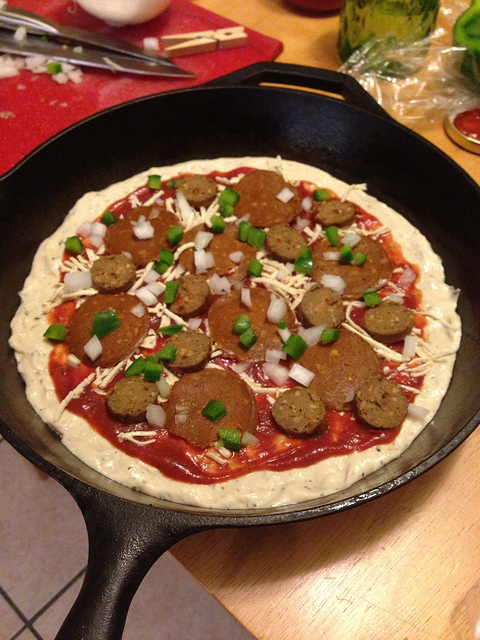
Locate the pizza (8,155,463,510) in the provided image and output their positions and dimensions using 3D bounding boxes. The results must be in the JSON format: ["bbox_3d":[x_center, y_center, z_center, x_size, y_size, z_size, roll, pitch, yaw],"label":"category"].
[{"bbox_3d":[-0.017,0.052,1.996,1.458,0.150,1.132,-27,62,-20],"label":"pizza"}]

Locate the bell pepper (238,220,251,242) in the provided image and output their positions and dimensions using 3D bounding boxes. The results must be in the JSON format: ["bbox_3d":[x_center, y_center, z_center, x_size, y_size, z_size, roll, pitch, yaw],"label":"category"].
[{"bbox_3d":[0.017,-0.317,2.094,0.044,0.025,0.059,8,79,0],"label":"bell pepper"}]

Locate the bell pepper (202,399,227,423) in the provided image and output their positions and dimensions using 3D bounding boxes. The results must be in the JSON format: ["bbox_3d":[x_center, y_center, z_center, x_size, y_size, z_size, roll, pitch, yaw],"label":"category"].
[{"bbox_3d":[-0.073,0.261,1.724,0.056,0.029,0.058,25,56,17],"label":"bell pepper"}]

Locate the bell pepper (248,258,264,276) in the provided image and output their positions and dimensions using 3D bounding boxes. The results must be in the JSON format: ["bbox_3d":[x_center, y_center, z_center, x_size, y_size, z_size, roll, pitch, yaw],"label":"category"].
[{"bbox_3d":[0.054,-0.180,2.015,0.060,0.054,0.052,23,85,8],"label":"bell pepper"}]

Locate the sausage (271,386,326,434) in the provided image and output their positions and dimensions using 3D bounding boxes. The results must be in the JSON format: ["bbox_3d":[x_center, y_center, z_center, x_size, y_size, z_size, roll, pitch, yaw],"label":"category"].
[{"bbox_3d":[0.176,0.270,1.753,0.152,0.091,0.206,-8,17,-21],"label":"sausage"}]

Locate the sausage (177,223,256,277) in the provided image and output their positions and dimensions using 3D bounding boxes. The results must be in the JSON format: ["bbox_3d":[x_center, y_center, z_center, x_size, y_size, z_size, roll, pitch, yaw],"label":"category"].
[{"bbox_3d":[-0.078,-0.258,2.053,0.246,0.018,0.167,-21,71,-15],"label":"sausage"}]

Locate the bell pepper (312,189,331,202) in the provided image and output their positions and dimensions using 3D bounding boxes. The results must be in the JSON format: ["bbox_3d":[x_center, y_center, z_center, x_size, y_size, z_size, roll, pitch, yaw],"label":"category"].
[{"bbox_3d":[0.311,-0.476,2.256,0.042,0.023,0.055,32,44,22],"label":"bell pepper"}]

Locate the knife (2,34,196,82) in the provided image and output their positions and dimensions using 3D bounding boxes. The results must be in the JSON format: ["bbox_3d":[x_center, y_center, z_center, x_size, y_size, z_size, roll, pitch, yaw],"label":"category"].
[{"bbox_3d":[-0.623,-1.109,2.517,0.982,0.085,0.146,7,53,-2],"label":"knife"}]

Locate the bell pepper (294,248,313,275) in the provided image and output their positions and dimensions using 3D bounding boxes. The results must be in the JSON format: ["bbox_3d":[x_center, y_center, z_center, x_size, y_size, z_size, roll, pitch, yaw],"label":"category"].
[{"bbox_3d":[0.224,-0.201,2.040,0.059,0.032,0.092,4,51,11],"label":"bell pepper"}]

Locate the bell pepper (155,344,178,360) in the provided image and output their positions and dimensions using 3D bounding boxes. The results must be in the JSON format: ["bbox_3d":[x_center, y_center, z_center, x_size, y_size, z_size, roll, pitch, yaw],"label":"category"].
[{"bbox_3d":[-0.222,0.099,1.823,0.050,0.016,0.055,25,55,18],"label":"bell pepper"}]

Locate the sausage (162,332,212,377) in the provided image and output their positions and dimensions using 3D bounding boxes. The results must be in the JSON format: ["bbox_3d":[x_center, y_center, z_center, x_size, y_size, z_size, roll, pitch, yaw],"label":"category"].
[{"bbox_3d":[-0.153,0.097,1.849,0.155,0.035,0.127,-2,53,0],"label":"sausage"}]

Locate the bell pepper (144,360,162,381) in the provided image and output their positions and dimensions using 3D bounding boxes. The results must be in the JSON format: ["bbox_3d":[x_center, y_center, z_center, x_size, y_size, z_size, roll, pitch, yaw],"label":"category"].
[{"bbox_3d":[-0.258,0.156,1.776,0.074,0.047,0.044,4,88,4],"label":"bell pepper"}]

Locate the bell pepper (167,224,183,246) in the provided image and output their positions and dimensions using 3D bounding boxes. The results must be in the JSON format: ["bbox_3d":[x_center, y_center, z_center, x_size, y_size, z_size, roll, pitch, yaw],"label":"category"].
[{"bbox_3d":[-0.226,-0.296,2.067,0.062,0.044,0.056,-36,101,-14],"label":"bell pepper"}]

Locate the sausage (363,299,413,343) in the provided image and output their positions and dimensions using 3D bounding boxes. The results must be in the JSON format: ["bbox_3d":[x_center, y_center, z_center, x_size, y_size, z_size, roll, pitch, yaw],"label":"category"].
[{"bbox_3d":[0.487,0.000,1.936,0.139,0.035,0.139,-41,61,-19],"label":"sausage"}]

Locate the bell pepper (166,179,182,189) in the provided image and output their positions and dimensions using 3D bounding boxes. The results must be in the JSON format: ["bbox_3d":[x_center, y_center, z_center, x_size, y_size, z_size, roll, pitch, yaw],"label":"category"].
[{"bbox_3d":[-0.250,-0.522,2.269,0.048,0.017,0.073,-3,28,1],"label":"bell pepper"}]

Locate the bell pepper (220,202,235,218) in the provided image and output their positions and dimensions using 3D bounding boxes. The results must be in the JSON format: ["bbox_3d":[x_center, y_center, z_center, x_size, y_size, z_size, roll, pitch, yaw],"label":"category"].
[{"bbox_3d":[-0.043,-0.414,2.214,0.061,0.048,0.056,14,26,15],"label":"bell pepper"}]

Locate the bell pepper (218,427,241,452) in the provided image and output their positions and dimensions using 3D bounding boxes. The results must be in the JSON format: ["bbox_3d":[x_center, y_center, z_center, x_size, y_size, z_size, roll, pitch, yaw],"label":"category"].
[{"bbox_3d":[-0.030,0.348,1.728,0.064,0.075,0.055,4,55,2],"label":"bell pepper"}]

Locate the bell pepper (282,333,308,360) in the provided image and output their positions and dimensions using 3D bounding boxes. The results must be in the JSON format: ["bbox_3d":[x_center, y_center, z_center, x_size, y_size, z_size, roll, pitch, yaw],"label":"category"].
[{"bbox_3d":[0.173,0.082,1.832,0.076,0.096,0.067,39,101,-5],"label":"bell pepper"}]

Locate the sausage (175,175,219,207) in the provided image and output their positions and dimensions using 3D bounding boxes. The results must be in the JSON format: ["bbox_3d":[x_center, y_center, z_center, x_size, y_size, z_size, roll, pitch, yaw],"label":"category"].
[{"bbox_3d":[-0.164,-0.474,2.228,0.138,0.029,0.127,-28,59,-23],"label":"sausage"}]

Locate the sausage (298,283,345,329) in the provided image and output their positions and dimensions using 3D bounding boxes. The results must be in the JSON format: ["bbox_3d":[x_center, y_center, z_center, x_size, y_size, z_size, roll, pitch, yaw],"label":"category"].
[{"bbox_3d":[0.252,-0.048,1.926,0.151,0.055,0.127,20,75,-1],"label":"sausage"}]

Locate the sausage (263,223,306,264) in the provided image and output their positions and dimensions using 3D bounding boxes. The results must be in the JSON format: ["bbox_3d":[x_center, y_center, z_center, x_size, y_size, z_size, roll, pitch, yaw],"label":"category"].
[{"bbox_3d":[0.159,-0.273,2.082,0.155,0.113,0.205,2,23,7],"label":"sausage"}]

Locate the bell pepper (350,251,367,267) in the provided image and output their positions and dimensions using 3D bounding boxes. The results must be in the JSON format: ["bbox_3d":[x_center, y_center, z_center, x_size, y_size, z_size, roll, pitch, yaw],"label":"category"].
[{"bbox_3d":[0.411,-0.212,2.041,0.041,0.051,0.044,3,89,21],"label":"bell pepper"}]

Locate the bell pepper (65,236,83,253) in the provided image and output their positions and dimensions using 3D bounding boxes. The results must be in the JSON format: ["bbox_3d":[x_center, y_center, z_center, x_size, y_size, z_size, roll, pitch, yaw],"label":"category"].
[{"bbox_3d":[-0.588,-0.270,2.105,0.065,0.052,0.053,-7,43,13],"label":"bell pepper"}]

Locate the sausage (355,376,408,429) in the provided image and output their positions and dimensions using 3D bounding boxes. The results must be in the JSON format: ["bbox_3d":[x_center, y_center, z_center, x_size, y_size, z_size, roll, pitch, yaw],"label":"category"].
[{"bbox_3d":[0.425,0.246,1.777,0.153,0.064,0.145,19,54,13],"label":"sausage"}]

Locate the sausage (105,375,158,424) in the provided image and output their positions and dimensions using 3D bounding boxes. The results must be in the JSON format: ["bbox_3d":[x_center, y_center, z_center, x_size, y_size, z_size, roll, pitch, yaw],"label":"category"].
[{"bbox_3d":[-0.323,0.232,1.771,0.163,0.033,0.134,-7,58,-2],"label":"sausage"}]

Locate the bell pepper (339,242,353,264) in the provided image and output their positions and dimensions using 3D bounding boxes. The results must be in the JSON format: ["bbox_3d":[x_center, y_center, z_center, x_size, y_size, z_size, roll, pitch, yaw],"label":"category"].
[{"bbox_3d":[0.364,-0.228,2.025,0.060,0.065,0.068,-5,35,15],"label":"bell pepper"}]

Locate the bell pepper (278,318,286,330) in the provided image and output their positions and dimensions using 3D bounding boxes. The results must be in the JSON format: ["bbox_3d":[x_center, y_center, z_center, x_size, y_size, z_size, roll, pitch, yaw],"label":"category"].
[{"bbox_3d":[0.135,0.012,1.867,0.029,0.024,0.026,0,78,2],"label":"bell pepper"}]

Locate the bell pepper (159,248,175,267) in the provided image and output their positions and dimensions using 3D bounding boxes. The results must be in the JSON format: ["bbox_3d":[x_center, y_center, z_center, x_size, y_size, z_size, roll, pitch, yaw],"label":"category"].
[{"bbox_3d":[-0.262,-0.219,2.073,0.056,0.014,0.048,-5,55,-49],"label":"bell pepper"}]

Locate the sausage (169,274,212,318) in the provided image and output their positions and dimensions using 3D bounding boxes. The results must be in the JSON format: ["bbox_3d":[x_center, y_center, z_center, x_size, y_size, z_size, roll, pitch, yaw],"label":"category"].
[{"bbox_3d":[-0.164,-0.076,1.963,0.159,0.079,0.155,17,24,22],"label":"sausage"}]

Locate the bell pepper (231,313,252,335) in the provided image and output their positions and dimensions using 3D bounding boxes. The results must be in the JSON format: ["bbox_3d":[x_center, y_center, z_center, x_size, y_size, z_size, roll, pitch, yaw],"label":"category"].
[{"bbox_3d":[0.016,0.009,1.897,0.055,0.054,0.073,17,61,20],"label":"bell pepper"}]
